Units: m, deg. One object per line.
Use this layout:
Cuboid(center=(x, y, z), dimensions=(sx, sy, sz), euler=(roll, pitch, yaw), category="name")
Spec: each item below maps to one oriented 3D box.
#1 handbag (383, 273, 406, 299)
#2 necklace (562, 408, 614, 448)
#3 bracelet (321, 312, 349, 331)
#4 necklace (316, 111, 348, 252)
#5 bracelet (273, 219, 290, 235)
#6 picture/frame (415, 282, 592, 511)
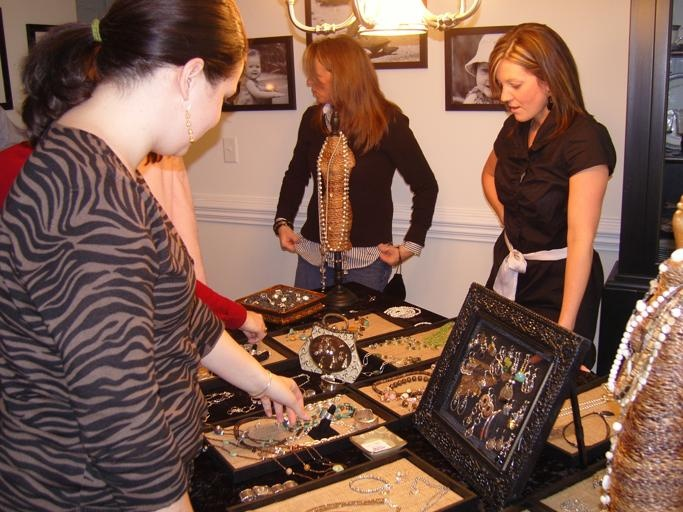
Cuboid(center=(0.284, 0.160, 2.713), dimensions=(0.105, 0.115, 0.215), euler=(-1, 16, 2), category="handbag")
Cuboid(center=(0.697, 0.478, 1.433), dimensions=(0.135, 0.034, 0.122), euler=(-21, 15, -11), category="necklace")
Cuboid(center=(-0.021, 0.266, 2.152), dimensions=(0.103, 0.094, 0.074), euler=(1, 13, 11), category="bracelet")
Cuboid(center=(-0.025, -0.374, 2.615), dimensions=(0.186, 0.712, 0.358), euler=(-2, 17, -3), category="necklace")
Cuboid(center=(-0.365, -0.178, 3.094), dimensions=(0.096, 0.091, 0.033), euler=(-2, 17, -18), category="bracelet")
Cuboid(center=(0.373, 0.340, 1.312), dimensions=(0.235, 0.419, 0.411), euler=(-9, 18, -23), category="picture/frame")
